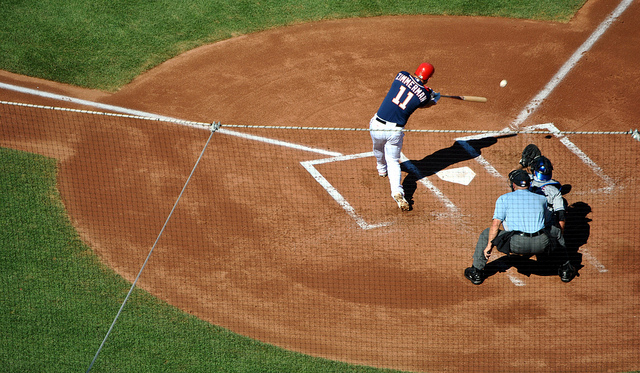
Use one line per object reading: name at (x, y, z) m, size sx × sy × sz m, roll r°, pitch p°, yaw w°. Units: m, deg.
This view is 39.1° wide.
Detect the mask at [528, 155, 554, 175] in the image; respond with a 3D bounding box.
mask at (6.020, -0.571, 24.771) m, size 0.513 × 1.004 × 0.723 m, roll -15°, pitch 78°, yaw 7°

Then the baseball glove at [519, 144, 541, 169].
baseball glove at (5.877, -0.885, 25.318) m, size 0.523 × 0.262 × 0.659 m, roll 32°, pitch 77°, yaw 25°

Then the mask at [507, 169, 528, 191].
mask at (5.236, -0.150, 24.129) m, size 0.533 × 0.336 × 0.587 m, roll -1°, pitch 90°, yaw 1°
